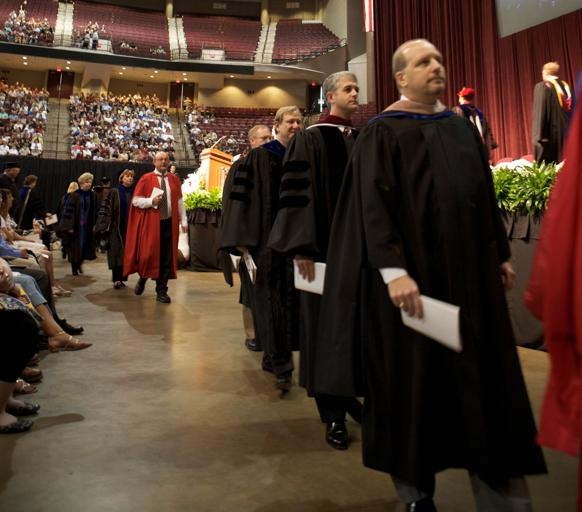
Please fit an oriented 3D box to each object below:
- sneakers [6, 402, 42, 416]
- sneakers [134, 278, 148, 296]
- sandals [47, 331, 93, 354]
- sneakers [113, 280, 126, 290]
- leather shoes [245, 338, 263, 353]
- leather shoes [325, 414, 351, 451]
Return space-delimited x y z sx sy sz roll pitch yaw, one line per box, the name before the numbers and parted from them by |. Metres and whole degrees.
sneakers | -1.326 0.751 2.227 0.167 0.045 0.060 0 4 1
sneakers | -1.910 0.402 5.703 0.074 0.220 0.094 20 -1 9
sandals | -1.410 0.533 2.830 0.295 0.124 0.126 1 1 -17
sneakers | -2.366 0.399 6.176 0.094 0.077 0.223 0 4 2
leather shoes | -0.290 0.681 3.402 0.103 0.082 0.244 9 -7 0
leather shoes | 0.206 0.769 1.940 0.062 0.066 0.158 -1 -5 -8
